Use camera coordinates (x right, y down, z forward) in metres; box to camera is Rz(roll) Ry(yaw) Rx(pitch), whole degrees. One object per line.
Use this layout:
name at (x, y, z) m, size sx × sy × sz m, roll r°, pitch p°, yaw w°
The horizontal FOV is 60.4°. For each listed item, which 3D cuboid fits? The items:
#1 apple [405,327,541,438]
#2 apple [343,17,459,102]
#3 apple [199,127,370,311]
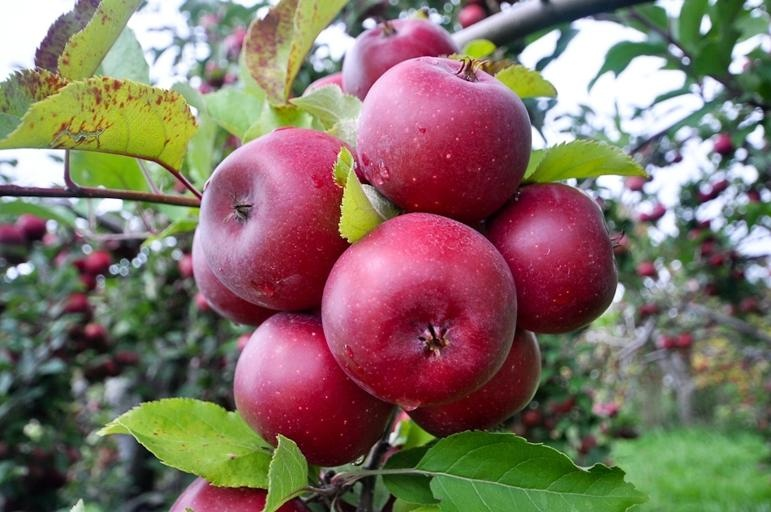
apple at (0.220, 0.309, 1.593) m, size 0.259 × 0.258 × 0.251 m, roll -15°, pitch 68°, yaw 44°
apple at (0.035, -0.489, 1.746) m, size 0.222 × 0.227 × 0.272 m, roll -4°, pitch 82°, yaw -6°
apple at (-0.253, -0.074, 1.622) m, size 0.378 × 0.419 × 0.419 m, roll -10°, pitch 82°, yaw 20°
